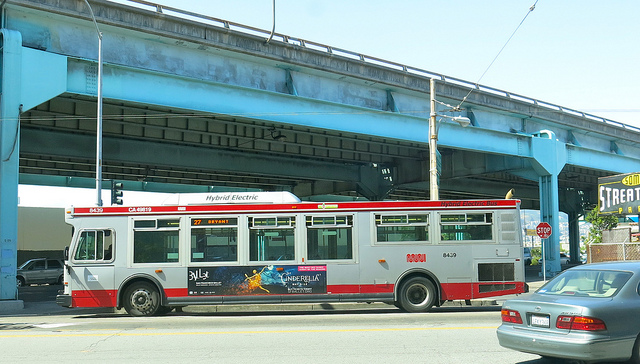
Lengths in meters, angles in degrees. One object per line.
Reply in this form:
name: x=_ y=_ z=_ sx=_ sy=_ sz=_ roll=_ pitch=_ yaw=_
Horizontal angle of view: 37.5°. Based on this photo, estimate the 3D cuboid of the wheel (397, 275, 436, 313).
wheel: x=5.221 y=6.054 z=51.250 sx=1.399 sy=1.769 sz=2.342 roll=0 pitch=-1 yaw=11
